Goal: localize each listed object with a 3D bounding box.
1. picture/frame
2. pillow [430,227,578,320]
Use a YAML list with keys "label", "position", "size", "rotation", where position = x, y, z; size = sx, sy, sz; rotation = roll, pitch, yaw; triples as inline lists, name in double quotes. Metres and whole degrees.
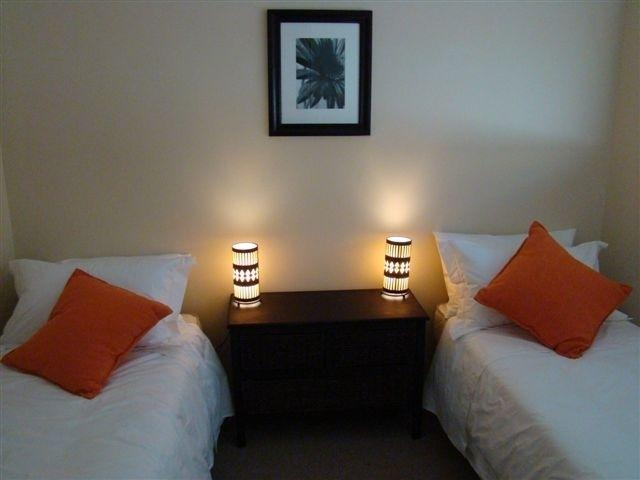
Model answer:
- label: "picture/frame"
  position: [-0.015, -0.946, 2.790]
  size: [0.591, 0.728, 0.053]
  rotation: [-1, 12, -2]
- label: "pillow"
  position: [1.005, 0.180, 2.747]
  size: [0.426, 0.280, 0.130]
  rotation: [-16, -13, -13]
